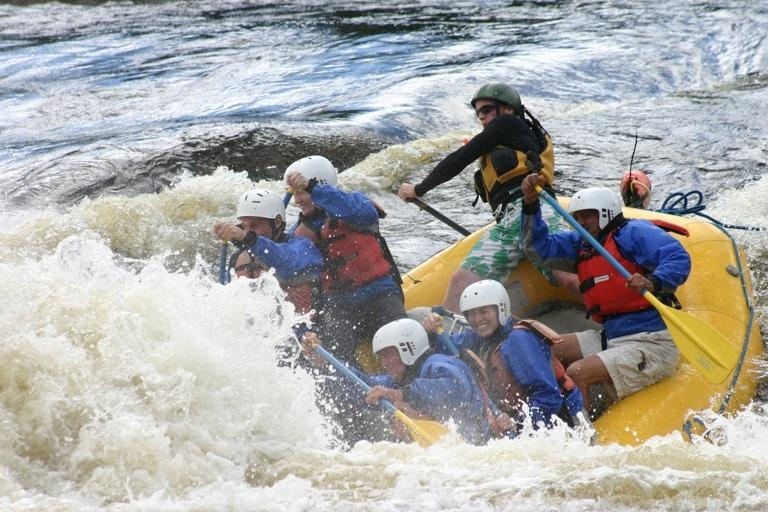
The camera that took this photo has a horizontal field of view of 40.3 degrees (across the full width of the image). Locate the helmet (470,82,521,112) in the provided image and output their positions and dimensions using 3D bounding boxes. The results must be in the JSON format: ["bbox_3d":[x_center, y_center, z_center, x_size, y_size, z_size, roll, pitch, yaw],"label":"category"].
[{"bbox_3d":[1.642,-2.245,14.900,0.594,0.251,0.415,27,0,-12],"label":"helmet"}]

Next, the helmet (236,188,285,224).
[{"bbox_3d":[-1.667,-0.700,14.414,0.548,0.365,0.413,15,-17,-40],"label":"helmet"}]

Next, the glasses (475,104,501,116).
[{"bbox_3d":[1.523,-2.100,14.875,0.241,0.069,0.205,25,-38,-35],"label":"glasses"}]

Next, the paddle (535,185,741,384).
[{"bbox_3d":[3.397,0.501,14.326,4.357,0.606,0.167,39,11,15],"label":"paddle"}]

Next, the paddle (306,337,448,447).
[{"bbox_3d":[0.068,1.735,13.520,0.435,1.011,2.141,-31,31,-33],"label":"paddle"}]
